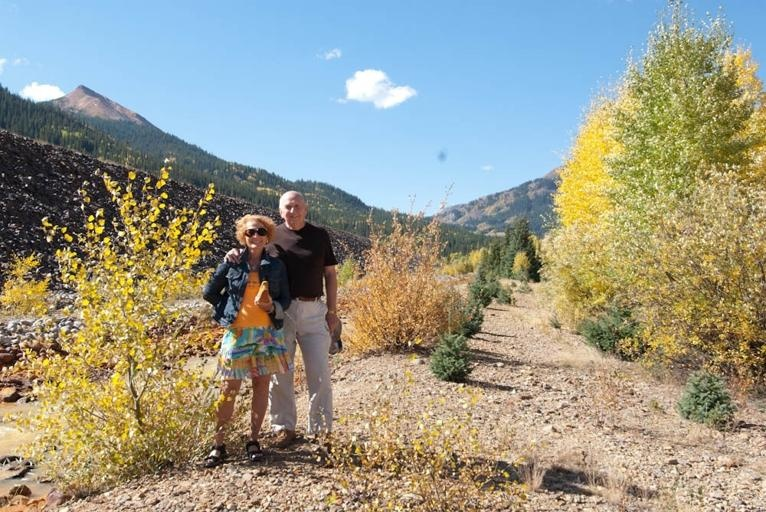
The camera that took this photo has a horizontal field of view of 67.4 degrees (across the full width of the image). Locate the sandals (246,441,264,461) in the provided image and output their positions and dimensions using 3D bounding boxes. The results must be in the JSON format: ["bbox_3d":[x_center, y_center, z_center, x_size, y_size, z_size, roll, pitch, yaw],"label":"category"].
[{"bbox_3d":[-1.940,2.954,8.689,0.293,0.285,0.256,2,-7,-5],"label":"sandals"}]

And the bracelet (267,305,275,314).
[{"bbox_3d":[-1.681,0.809,8.647,0.096,0.141,0.048,-1,1,-12],"label":"bracelet"}]

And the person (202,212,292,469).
[{"bbox_3d":[-2.045,1.264,8.660,1.171,3.759,0.426,1,-7,5],"label":"person"}]
